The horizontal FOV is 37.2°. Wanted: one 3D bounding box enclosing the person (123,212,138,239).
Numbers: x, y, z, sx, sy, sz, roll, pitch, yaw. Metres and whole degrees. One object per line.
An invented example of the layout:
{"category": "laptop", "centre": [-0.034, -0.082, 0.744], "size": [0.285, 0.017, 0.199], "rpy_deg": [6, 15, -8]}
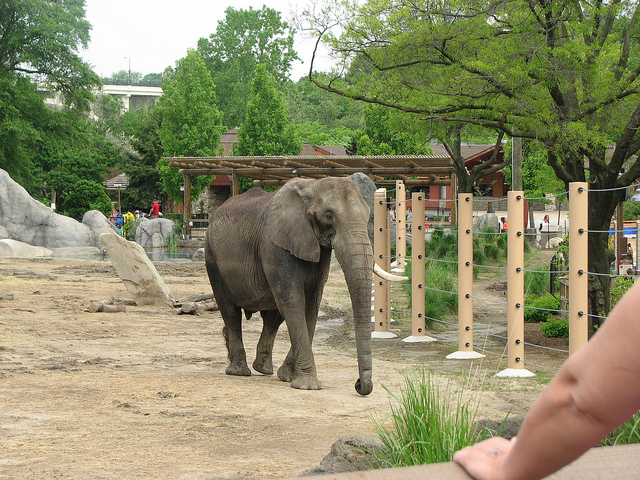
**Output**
{"category": "person", "centre": [-7.671, -0.606, 38.510], "size": [0.577, 0.941, 1.563], "rpy_deg": [0, 2, -12]}
